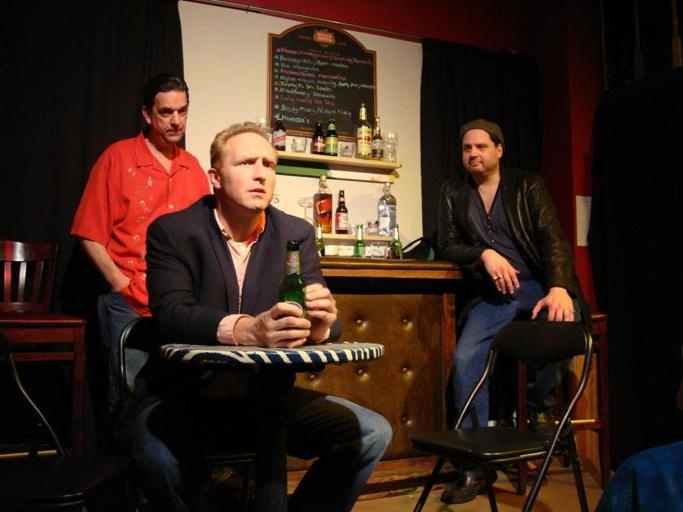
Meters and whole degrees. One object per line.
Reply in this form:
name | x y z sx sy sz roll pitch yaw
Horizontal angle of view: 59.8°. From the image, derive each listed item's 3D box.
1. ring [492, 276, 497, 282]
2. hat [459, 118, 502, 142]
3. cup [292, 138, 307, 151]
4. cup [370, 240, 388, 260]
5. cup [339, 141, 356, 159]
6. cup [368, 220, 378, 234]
ring | 0.875 0.141 3.416 0.023 0.030 0.034 0 2 8
hat | 0.893 -0.815 3.823 0.196 0.122 0.192 6 4 14
cup | -0.329 -0.841 4.614 0.102 0.093 0.119 0 2 8
cup | 0.286 -0.038 4.707 0.132 0.104 0.141 2 -2 0
cup | 0.042 -0.853 4.774 0.130 0.156 0.147 1 -2 4
cup | 0.244 -0.224 4.790 0.088 0.112 0.094 1 0 0
